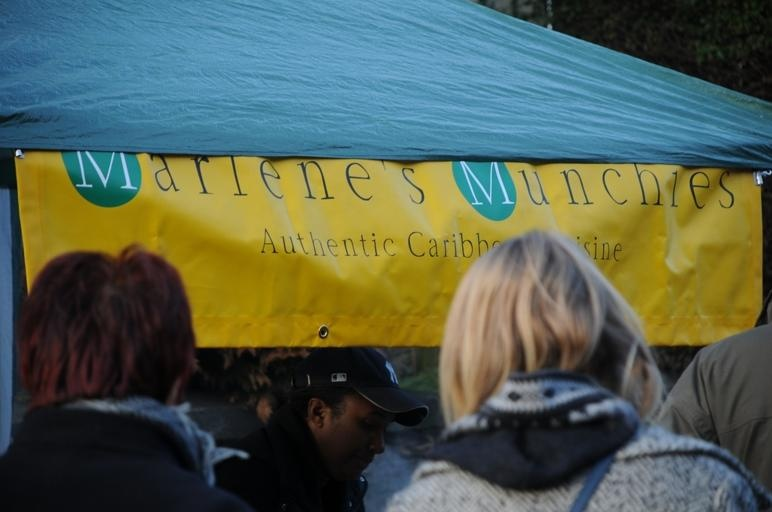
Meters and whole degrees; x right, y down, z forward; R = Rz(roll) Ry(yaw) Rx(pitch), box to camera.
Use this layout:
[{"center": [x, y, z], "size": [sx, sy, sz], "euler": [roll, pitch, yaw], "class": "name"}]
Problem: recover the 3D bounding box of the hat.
[{"center": [-0.115, 0.616, 7.381], "size": [0.548, 0.297, 0.365], "euler": [10, -9, 7], "class": "hat"}]
